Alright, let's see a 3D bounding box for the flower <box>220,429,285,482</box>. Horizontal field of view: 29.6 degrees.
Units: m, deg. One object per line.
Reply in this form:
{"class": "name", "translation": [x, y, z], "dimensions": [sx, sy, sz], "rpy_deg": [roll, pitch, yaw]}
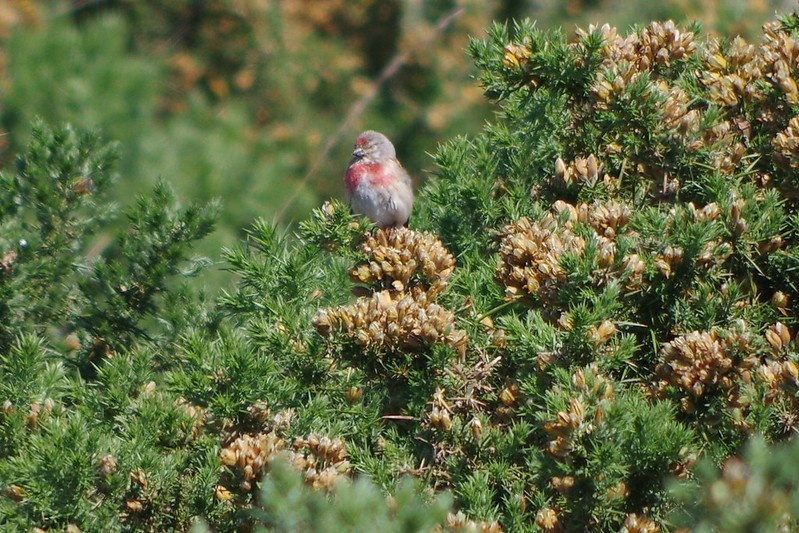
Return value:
{"class": "flower", "translation": [-0.687, 0.897, 7.135], "dimensions": [0.291, 0.235, 0.215], "rpy_deg": [-3, 91, -15]}

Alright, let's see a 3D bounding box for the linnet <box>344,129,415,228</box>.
{"class": "linnet", "translation": [-0.084, -0.522, 9.135], "dimensions": [0.367, 0.651, 0.622], "rpy_deg": [-1, 5, 23]}
